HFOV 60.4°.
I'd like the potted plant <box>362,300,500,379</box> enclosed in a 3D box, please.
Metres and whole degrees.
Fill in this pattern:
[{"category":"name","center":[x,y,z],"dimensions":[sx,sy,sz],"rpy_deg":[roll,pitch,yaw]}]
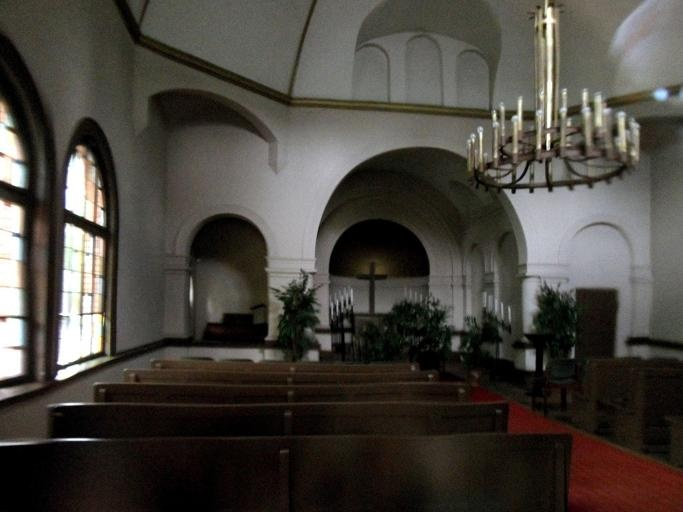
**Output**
[{"category":"potted plant","center":[1.539,1.492,11.559],"dimensions":[2.788,1.892,1.340],"rpy_deg":[0,-10,-1]}]
